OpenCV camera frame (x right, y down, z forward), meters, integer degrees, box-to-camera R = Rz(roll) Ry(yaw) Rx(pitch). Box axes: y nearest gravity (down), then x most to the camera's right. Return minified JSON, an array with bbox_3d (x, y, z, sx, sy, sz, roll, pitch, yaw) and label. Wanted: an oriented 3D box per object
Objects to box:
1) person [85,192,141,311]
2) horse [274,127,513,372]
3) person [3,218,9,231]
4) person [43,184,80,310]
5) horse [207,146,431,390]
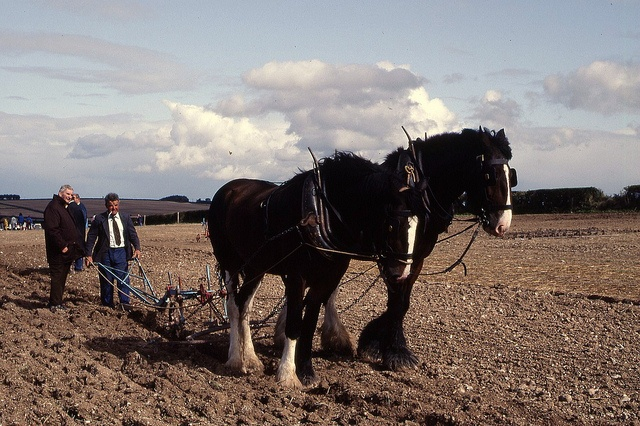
[{"bbox_3d":[-4.497,0.769,12.779,1.086,2.549,1.445,-5,12,-20],"label":"person"},{"bbox_3d":[1.326,0.772,10.478,1.251,3.849,4.501,9,-8,-42],"label":"horse"},{"bbox_3d":[-24.136,0.891,45.011,0.423,0.758,3.140,-7,13,-28],"label":"person"},{"bbox_3d":[-5.520,0.709,12.452,0.751,2.381,0.897,8,14,37],"label":"person"},{"bbox_3d":[-0.437,1.016,10.030,4.843,3.772,1.414,-1,-2,41],"label":"horse"}]
